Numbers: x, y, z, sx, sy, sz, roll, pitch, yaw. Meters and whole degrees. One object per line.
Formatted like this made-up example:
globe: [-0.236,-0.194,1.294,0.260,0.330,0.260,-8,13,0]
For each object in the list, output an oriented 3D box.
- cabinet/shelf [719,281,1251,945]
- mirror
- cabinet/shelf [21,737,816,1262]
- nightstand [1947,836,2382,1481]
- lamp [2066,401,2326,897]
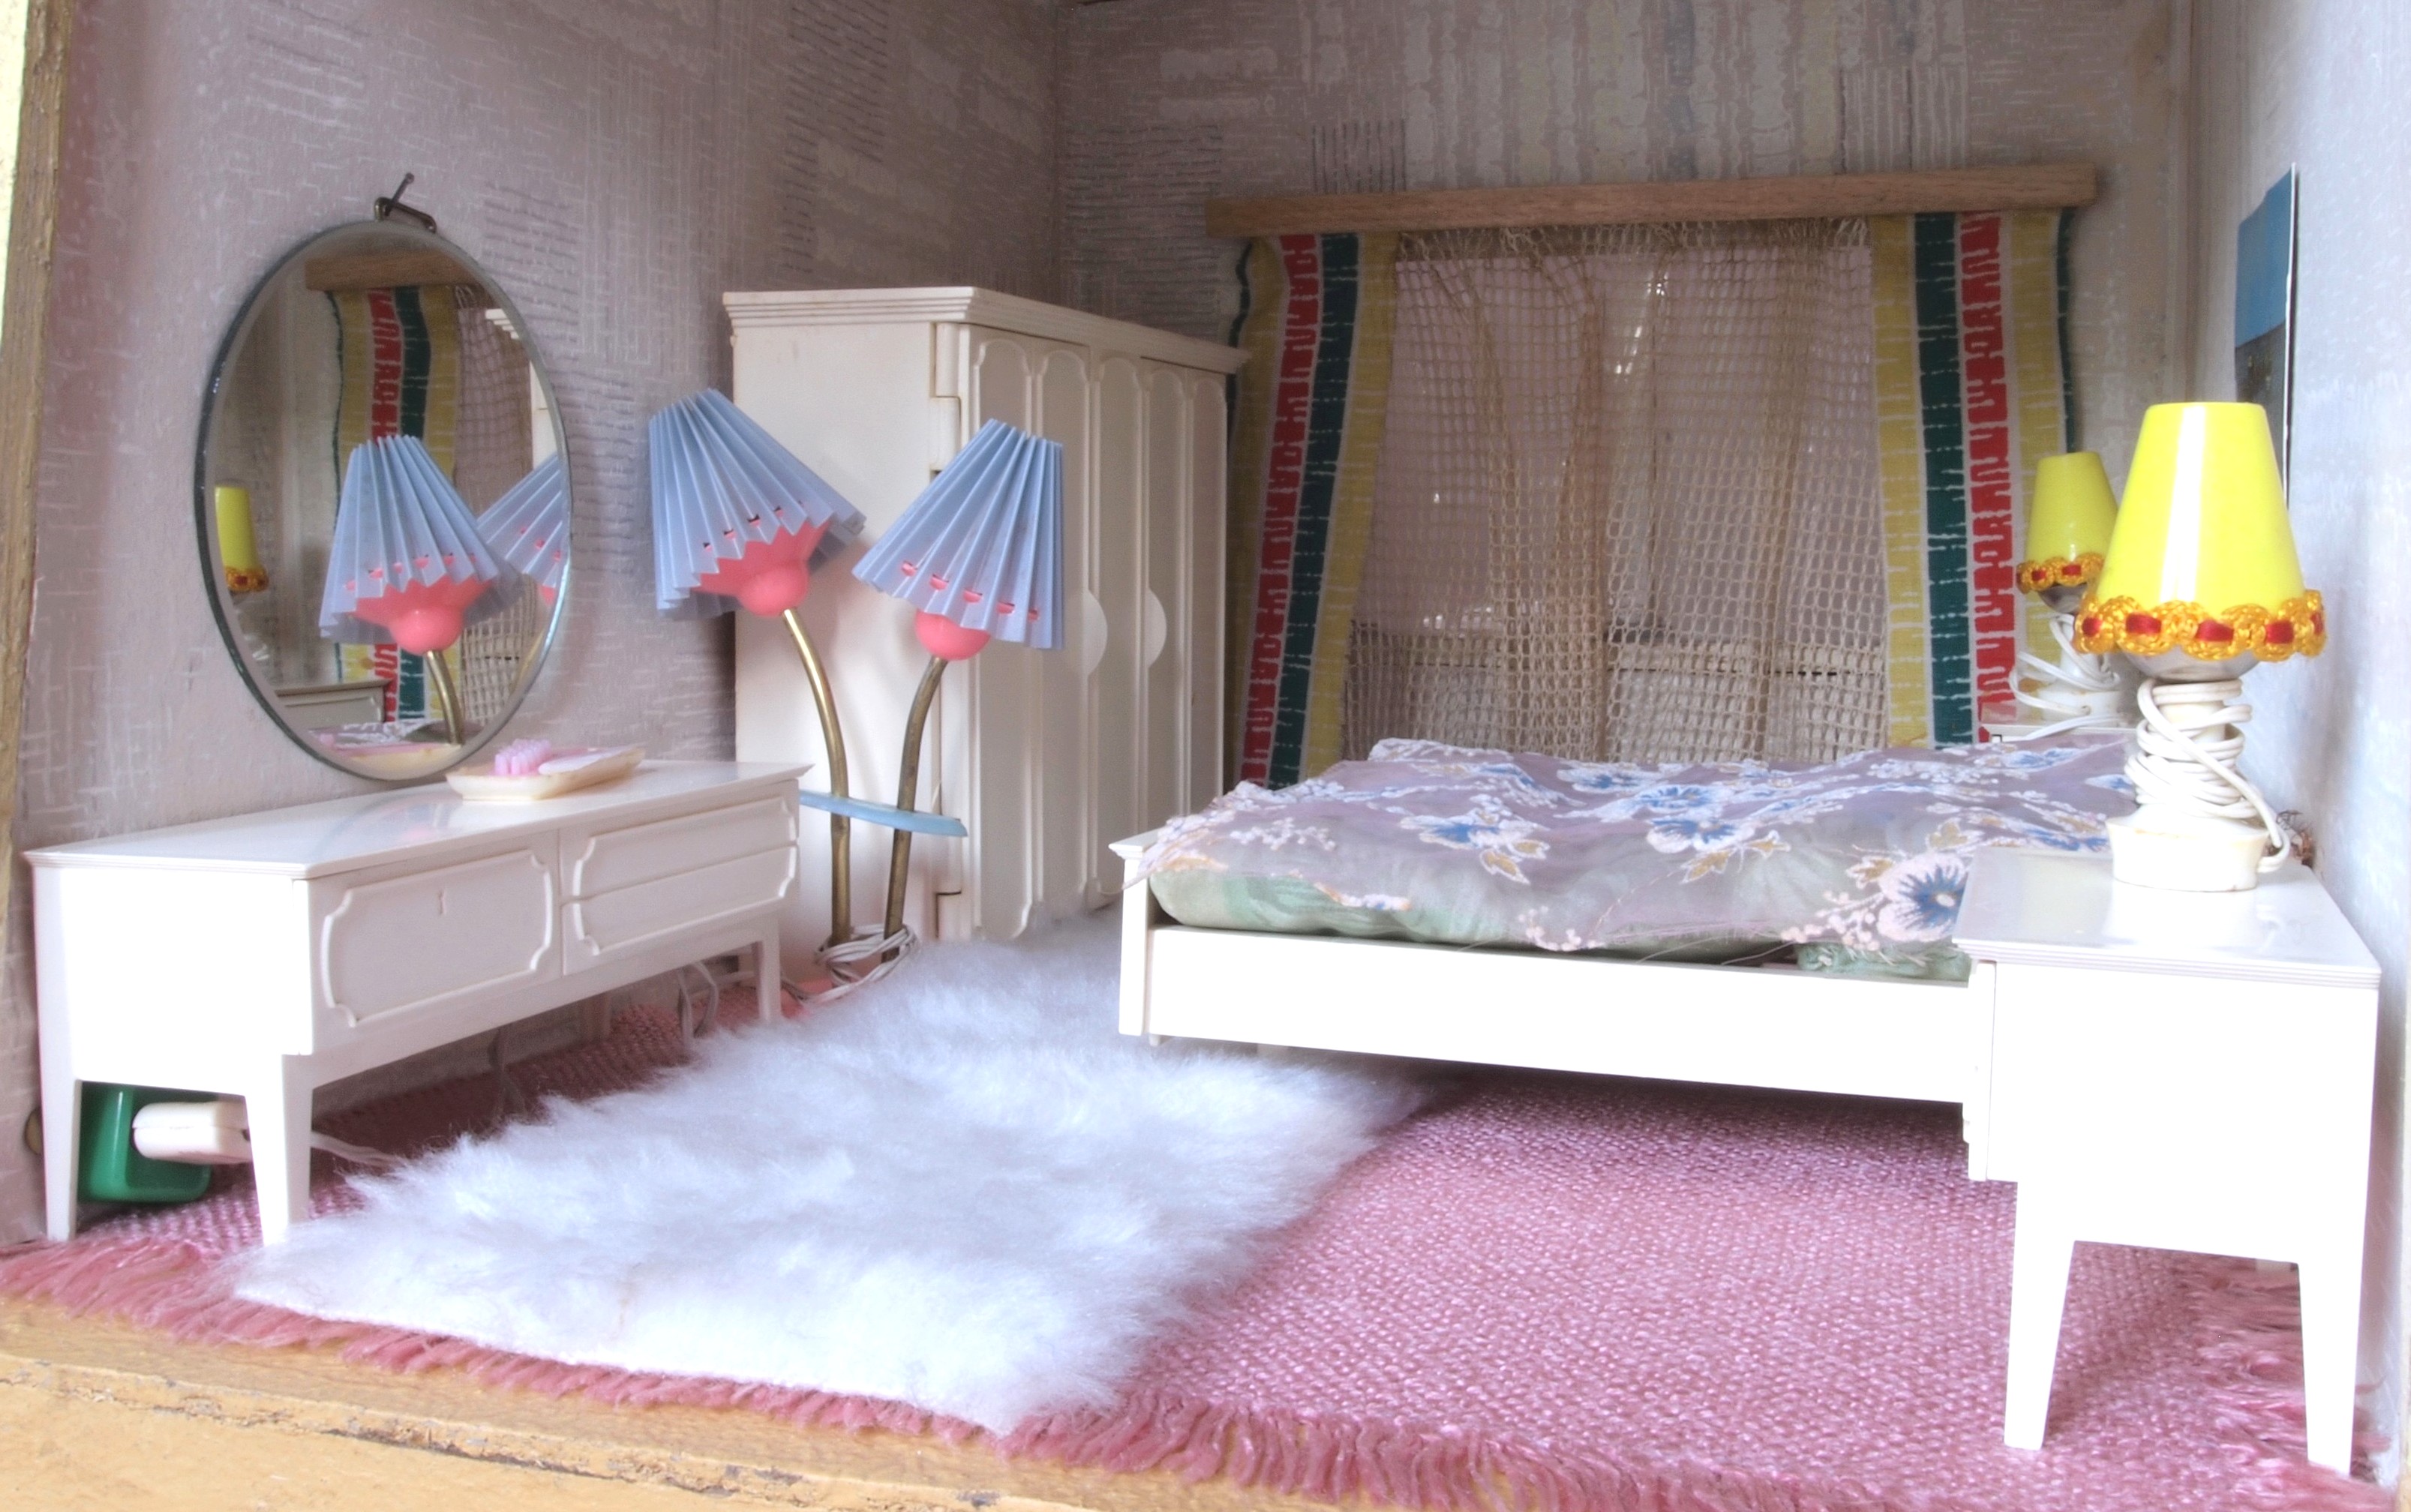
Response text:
cabinet/shelf: [-0.657,-0.373,4.862,0.792,1.881,2.182,0,4,18]
mirror: [-1.810,-0.550,3.827,0.054,1.167,1.258,-1,11,21]
cabinet/shelf: [-1.640,0.446,3.938,0.620,0.648,1.617,3,6,18]
nightstand: [1.519,0.643,2.807,0.631,0.831,0.468,4,8,22]
lamp: [1.654,-0.191,2.949,0.366,0.810,0.232,4,8,20]
